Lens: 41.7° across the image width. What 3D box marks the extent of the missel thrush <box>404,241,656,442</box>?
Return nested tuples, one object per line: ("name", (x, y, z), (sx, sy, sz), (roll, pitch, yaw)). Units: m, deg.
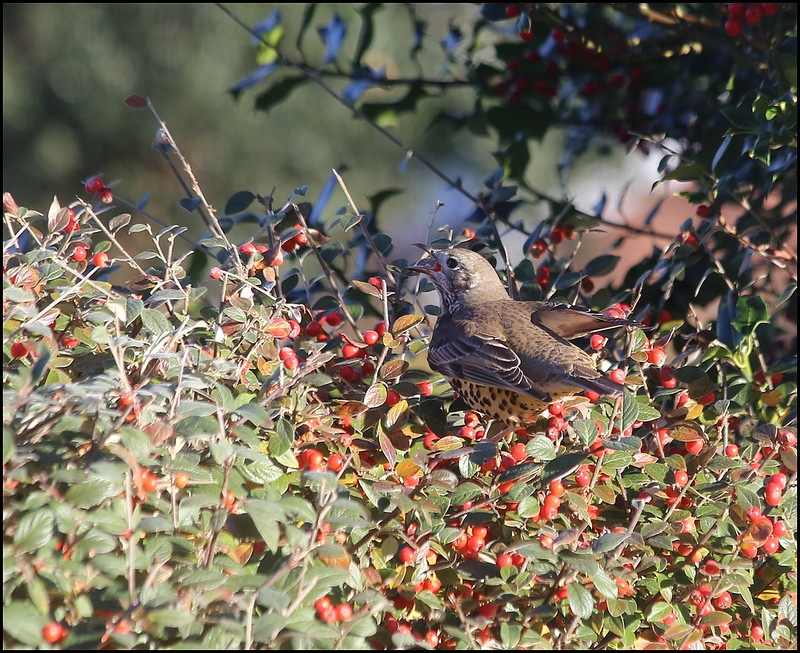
("missel thrush", (0.419, 0.068, 3.698), (0.876, 0.580, 0.471), (15, 34, 43))
